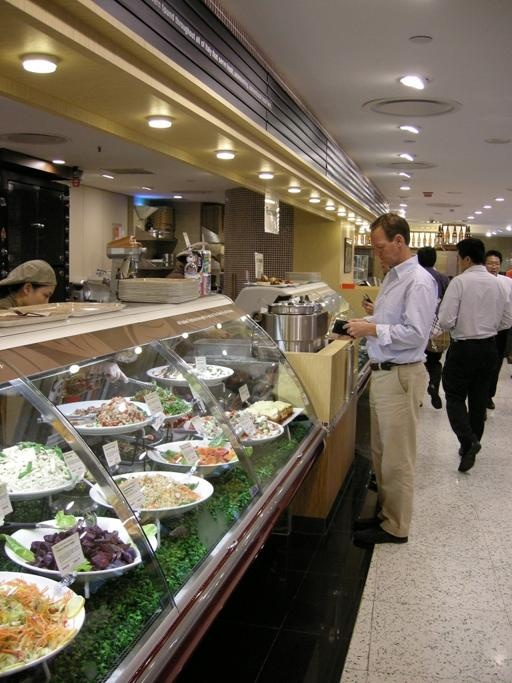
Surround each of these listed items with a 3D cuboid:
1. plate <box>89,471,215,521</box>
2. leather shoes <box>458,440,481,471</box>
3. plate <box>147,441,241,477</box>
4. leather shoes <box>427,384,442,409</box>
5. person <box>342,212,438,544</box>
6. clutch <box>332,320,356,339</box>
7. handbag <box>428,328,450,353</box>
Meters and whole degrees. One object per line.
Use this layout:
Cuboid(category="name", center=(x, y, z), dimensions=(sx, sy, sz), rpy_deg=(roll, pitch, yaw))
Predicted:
Cuboid(category="plate", center=(-0.247, 0.403, 1.288), dimensions=(0.178, 0.047, 0.210), rpy_deg=(10, 6, 21))
Cuboid(category="leather shoes", center=(1.774, 0.949, 4.021), dimensions=(0.090, 0.235, 0.161), rpy_deg=(21, -2, -2))
Cuboid(category="plate", center=(-0.185, 0.365, 1.523), dimensions=(0.151, 0.038, 0.169), rpy_deg=(5, 10, 8))
Cuboid(category="leather shoes", center=(2.222, 0.687, 6.049), dimensions=(0.096, 0.256, 0.178), rpy_deg=(-19, -5, 8))
Cuboid(category="person", center=(0.819, 0.213, 2.973), dimensions=(0.472, 1.377, 0.474), rpy_deg=(6, 4, 43))
Cuboid(category="clutch", center=(0.590, -0.077, 3.267), dimensions=(0.140, 0.126, 0.032), rpy_deg=(9, -37, -41))
Cuboid(category="handbag", center=(2.111, -0.008, 5.612), dimensions=(0.184, 0.329, 0.251), rpy_deg=(13, 1, 39))
